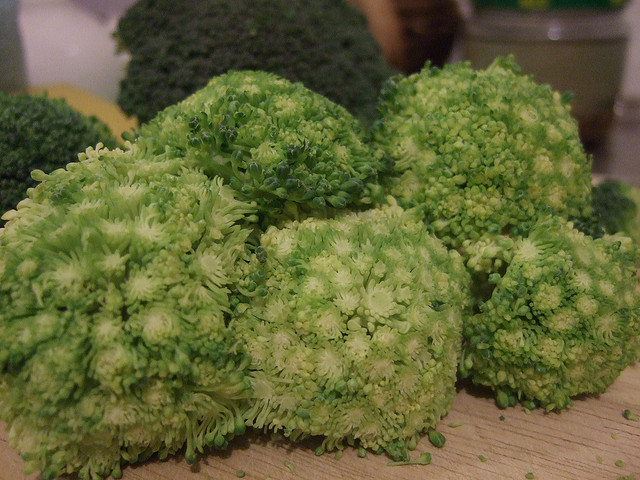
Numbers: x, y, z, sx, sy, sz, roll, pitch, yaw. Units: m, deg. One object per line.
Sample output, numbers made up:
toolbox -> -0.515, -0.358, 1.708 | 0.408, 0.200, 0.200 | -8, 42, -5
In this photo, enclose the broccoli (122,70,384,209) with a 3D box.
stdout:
broccoli -> -0.194, -0.274, 1.921 | 0.597, 0.370, 0.602 | 19, 3, 37
